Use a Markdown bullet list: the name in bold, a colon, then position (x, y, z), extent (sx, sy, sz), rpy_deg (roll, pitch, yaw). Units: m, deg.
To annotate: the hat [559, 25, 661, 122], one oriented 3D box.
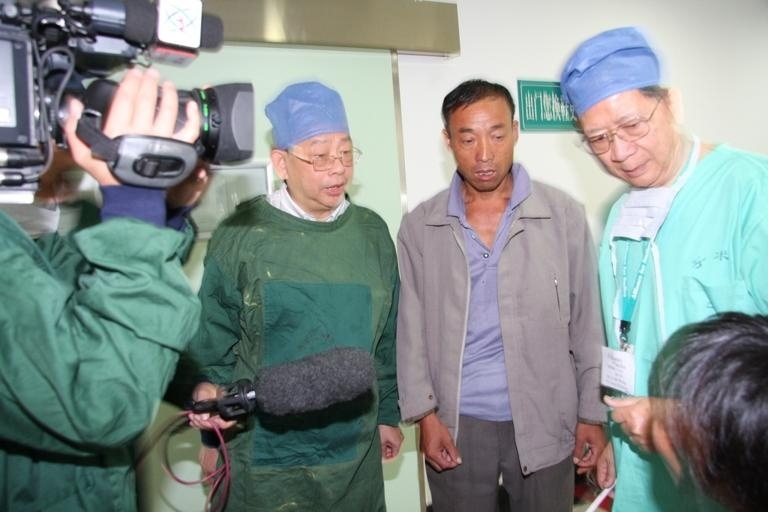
- **hat**: position (0.698, -0.563, 1.835), extent (0.300, 0.247, 0.227), rpy_deg (-35, 18, 9)
